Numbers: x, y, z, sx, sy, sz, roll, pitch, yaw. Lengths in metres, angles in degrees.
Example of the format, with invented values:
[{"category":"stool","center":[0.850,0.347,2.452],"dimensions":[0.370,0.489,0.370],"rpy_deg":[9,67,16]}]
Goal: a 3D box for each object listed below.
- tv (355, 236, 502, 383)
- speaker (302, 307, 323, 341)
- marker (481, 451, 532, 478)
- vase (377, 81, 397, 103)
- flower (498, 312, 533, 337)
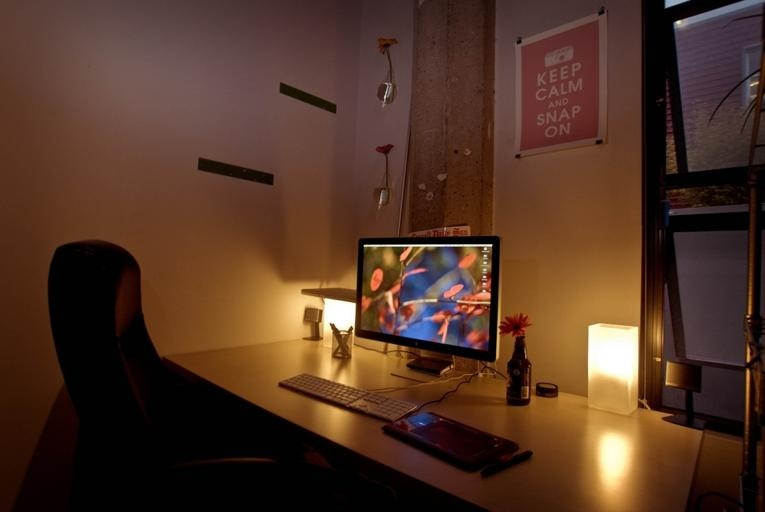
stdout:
[{"category":"tv","center":[0.221,0.259,2.686],"dimensions":[0.804,0.589,0.172],"rpy_deg":[4,5,36]},{"category":"speaker","center":[-0.442,0.429,3.341],"dimensions":[0.124,0.207,0.118],"rpy_deg":[2,-8,17]},{"category":"marker","center":[0.458,0.784,1.954],"dimensions":[0.179,0.035,0.036],"rpy_deg":[-11,1,-27]},{"category":"vase","center":[0.029,-1.017,3.224],"dimensions":[0.070,0.142,0.092],"rpy_deg":[2,0,30]},{"category":"flower","center":[0.610,0.323,2.432],"dimensions":[0.160,0.107,0.086],"rpy_deg":[2,0,-34]}]
